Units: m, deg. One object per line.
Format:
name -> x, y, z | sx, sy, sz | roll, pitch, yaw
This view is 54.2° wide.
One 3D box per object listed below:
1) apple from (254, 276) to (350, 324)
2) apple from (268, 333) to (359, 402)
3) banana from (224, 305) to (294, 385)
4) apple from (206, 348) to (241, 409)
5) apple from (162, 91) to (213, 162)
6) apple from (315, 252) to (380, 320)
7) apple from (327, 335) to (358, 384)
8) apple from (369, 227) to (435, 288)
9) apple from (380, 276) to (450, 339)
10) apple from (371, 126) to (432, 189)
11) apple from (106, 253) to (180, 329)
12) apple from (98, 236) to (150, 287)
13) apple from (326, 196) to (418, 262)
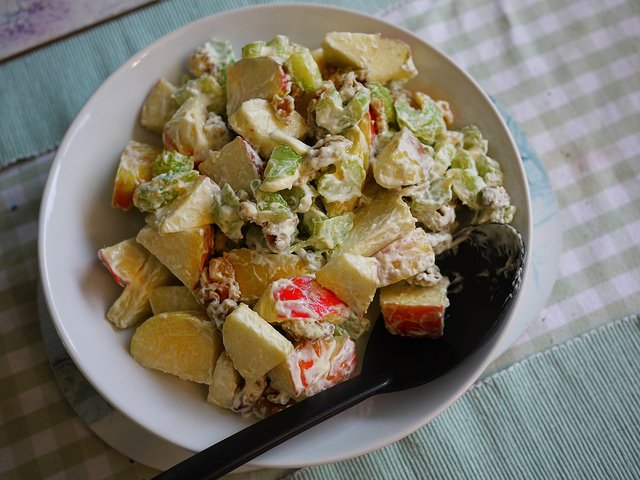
apple -> -0.053, 0.209, 2.067 | 0.151, 0.227, 0.090 | 0, 104, 34
apple -> 0.007, 0.415, 2.181 | 0.201, 0.348, 0.154 | 40, 117, 40
banana -> -0.214, 0.329, 2.059 | 0.196, 0.078, 0.221 | -34, 86, -5
apple -> -0.327, 0.486, 2.113 | 0.095, 0.050, 0.209 | 8, 101, 13
apple -> -0.464, -0.387, 2.242 | 0.073, 0.214, 0.216 | 30, 93, 12
apple -> 0.091, 0.142, 2.149 | 0.242, 0.236, 0.089 | 16, 52, 25
apple -> 0.083, 0.412, 2.142 | 0.097, 0.057, 0.157 | -1, 92, -4
apple -> 0.294, 0.071, 2.156 | 0.274, 0.077, 0.165 | -31, 89, -8
apple -> 0.318, 0.242, 2.144 | 0.186, 0.137, 0.215 | -1, 46, 11
apple -> 0.253, -0.336, 2.236 | 0.209, 0.316, 0.140 | -5, 110, 9
apple -> -0.647, 0.155, 2.315 | 0.088, 0.162, 0.326 | 10, 65, 55
apple -> -0.679, 0.076, 2.227 | 0.174, 0.062, 0.173 | -25, 63, -37
apple -> 0.193, -0.021, 2.220 | 0.308, 0.093, 0.197 | -32, 66, 14
